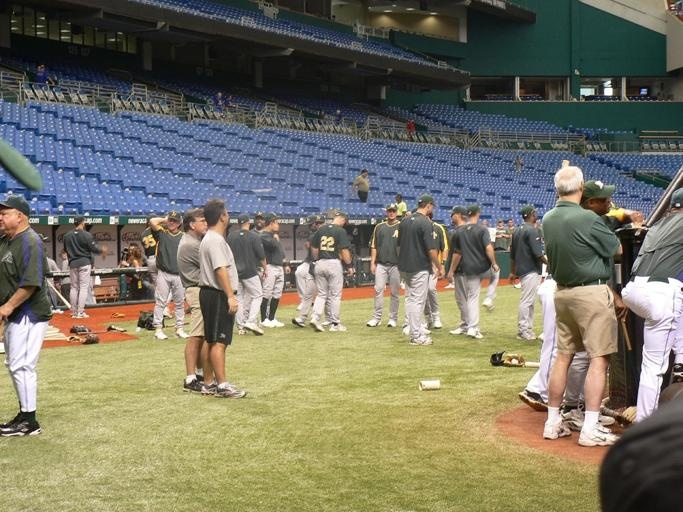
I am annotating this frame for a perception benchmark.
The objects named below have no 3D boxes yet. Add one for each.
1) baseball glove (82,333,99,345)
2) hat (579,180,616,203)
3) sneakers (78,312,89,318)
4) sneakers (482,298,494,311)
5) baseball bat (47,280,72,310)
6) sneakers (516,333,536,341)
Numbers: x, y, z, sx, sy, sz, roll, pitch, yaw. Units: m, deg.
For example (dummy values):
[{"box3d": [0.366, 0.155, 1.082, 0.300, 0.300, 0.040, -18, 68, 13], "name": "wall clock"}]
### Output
[{"box3d": [-4.184, 1.405, 14.469, 0.186, 0.096, 0.230, 1, 3, -8], "name": "baseball glove"}, {"box3d": [2.838, -0.725, 9.536, 0.328, 0.136, 0.199, -6, 15, 13], "name": "hat"}, {"box3d": [-5.268, 1.224, 17.598, 0.114, 0.084, 0.220, 1, -5, -25], "name": "sneakers"}, {"box3d": [3.135, 1.050, 18.456, 0.159, 0.160, 0.425, 1, -4, 29], "name": "sneakers"}, {"box3d": [-5.896, 0.829, 18.053, 0.164, 0.157, 1.153, -28, -38, 0], "name": "baseball bat"}, {"box3d": [3.060, 1.366, 14.259, 0.285, 0.103, 0.108, -1, 1, 20], "name": "sneakers"}]
